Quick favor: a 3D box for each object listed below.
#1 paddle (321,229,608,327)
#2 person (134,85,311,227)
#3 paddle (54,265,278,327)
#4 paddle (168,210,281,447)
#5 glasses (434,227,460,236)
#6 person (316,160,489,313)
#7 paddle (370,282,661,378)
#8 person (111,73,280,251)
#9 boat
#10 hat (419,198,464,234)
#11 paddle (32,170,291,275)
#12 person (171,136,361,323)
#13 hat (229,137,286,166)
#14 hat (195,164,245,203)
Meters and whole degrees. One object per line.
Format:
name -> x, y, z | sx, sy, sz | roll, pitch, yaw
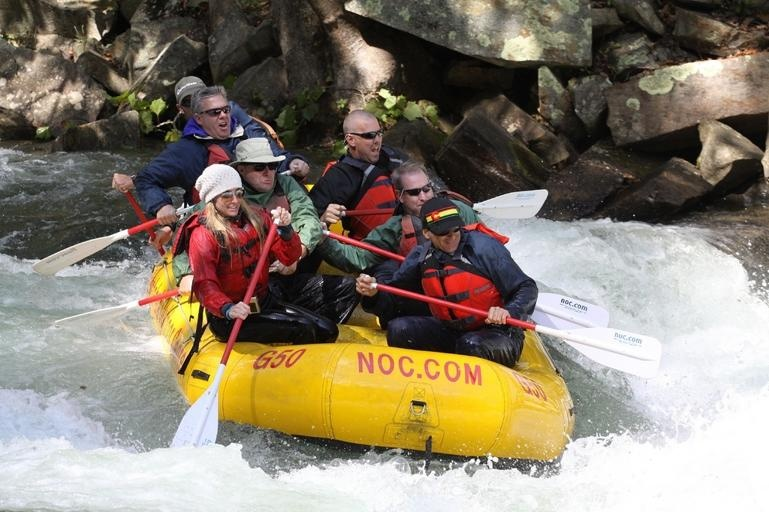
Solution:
paddle -> 0.643, 0.223, 7.580 | 2.057, 0.509, 0.093 | 22, 19, 8
person -> -1.795, -0.853, 8.002 | 1.279, 0.712, 1.601 | -16, 24, -14
paddle -> -1.997, 0.385, 7.672 | 2.088, 0.241, 0.111 | -14, -2, -2
paddle -> -1.730, 0.461, 7.809 | 0.518, 0.083, 2.855 | -24, 37, 4
glasses -> 0.514, -0.203, 6.948 | 0.087, 0.041, 0.129 | -18, 4, -14
person -> 0.043, -0.181, 7.750 | 1.179, 1.109, 1.556 | -4, 11, -5
paddle -> 1.051, 0.666, 7.258 | 2.899, 0.518, 0.124 | 14, 13, 6
person -> -1.550, -0.907, 7.866 | 1.734, 0.811, 1.349 | 25, 44, 26
boat -> 0.005, 0.769, 6.535 | 2.565, 0.567, 1.597 | 5, 32, -7
hat -> 0.474, -0.348, 6.975 | 0.251, 0.198, 0.338 | -20, 15, -18
paddle -> -2.157, -0.291, 8.093 | 2.958, 0.353, 0.144 | -22, 22, -18
person -> -1.099, 0.146, 7.133 | 1.248, 1.775, 1.139 | 3, 27, 26
hat -> -1.121, -0.925, 7.411 | 0.418, 0.244, 0.240 | 10, 29, -3
hat -> -1.348, -0.609, 6.920 | 0.336, 0.277, 0.290 | -8, 26, 25
